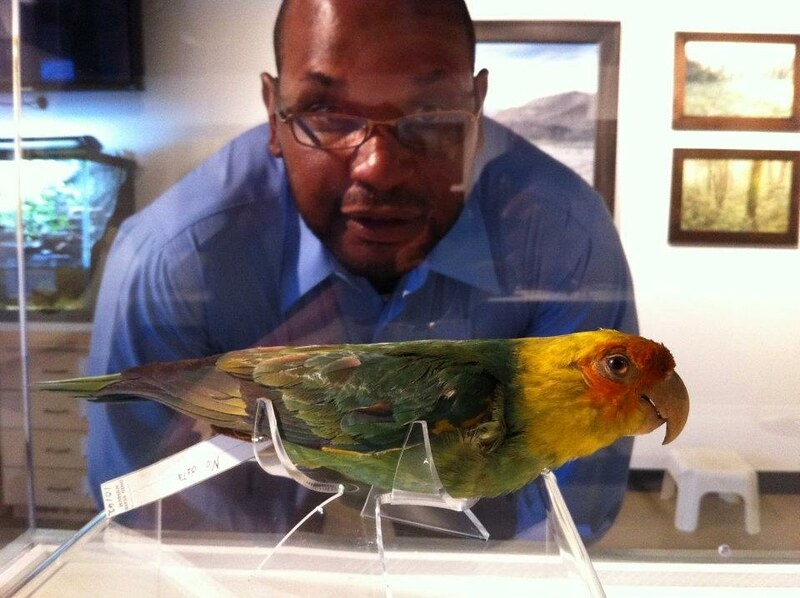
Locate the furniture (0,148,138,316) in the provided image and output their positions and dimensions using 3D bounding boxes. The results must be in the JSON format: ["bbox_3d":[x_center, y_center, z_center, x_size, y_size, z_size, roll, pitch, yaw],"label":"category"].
[{"bbox_3d":[-0.718,-0.161,1.989,0.324,0.430,0.232,1,5,1],"label":"furniture"}]

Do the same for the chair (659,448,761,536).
[{"bbox_3d":[0.689,0.406,1.985,0.189,0.148,0.192,0,3,7],"label":"chair"}]
